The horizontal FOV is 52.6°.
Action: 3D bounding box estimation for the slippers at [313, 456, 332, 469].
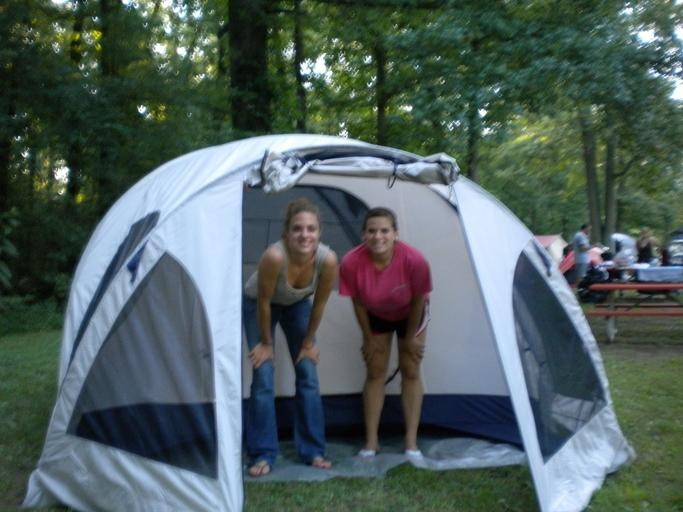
[{"bbox_3d":[-0.197,1.953,6.532,0.086,0.069,0.147,5,-11,-39],"label":"slippers"}]
